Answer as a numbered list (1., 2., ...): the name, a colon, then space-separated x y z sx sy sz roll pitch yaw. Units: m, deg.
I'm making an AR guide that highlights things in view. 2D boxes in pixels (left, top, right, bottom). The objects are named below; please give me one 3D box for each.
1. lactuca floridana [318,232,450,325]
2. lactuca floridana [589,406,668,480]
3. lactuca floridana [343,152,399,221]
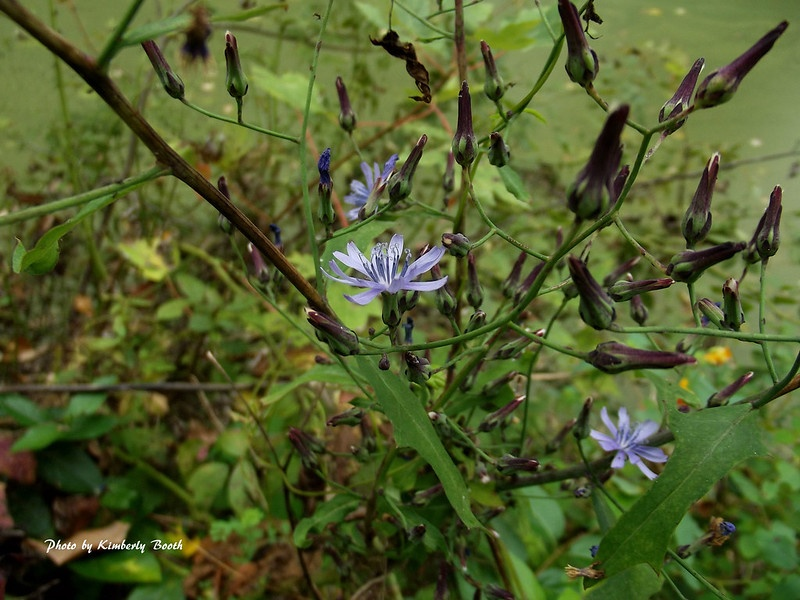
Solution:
1. lactuca floridana: -0.034 -0.047 1.683 0.265 0.144 0.299 6 3 -7
2. lactuca floridana: 0.520 0.321 1.736 0.155 0.151 0.209 7 3 30
3. lactuca floridana: -0.074 -0.250 1.756 0.088 0.106 0.231 5 3 -12
